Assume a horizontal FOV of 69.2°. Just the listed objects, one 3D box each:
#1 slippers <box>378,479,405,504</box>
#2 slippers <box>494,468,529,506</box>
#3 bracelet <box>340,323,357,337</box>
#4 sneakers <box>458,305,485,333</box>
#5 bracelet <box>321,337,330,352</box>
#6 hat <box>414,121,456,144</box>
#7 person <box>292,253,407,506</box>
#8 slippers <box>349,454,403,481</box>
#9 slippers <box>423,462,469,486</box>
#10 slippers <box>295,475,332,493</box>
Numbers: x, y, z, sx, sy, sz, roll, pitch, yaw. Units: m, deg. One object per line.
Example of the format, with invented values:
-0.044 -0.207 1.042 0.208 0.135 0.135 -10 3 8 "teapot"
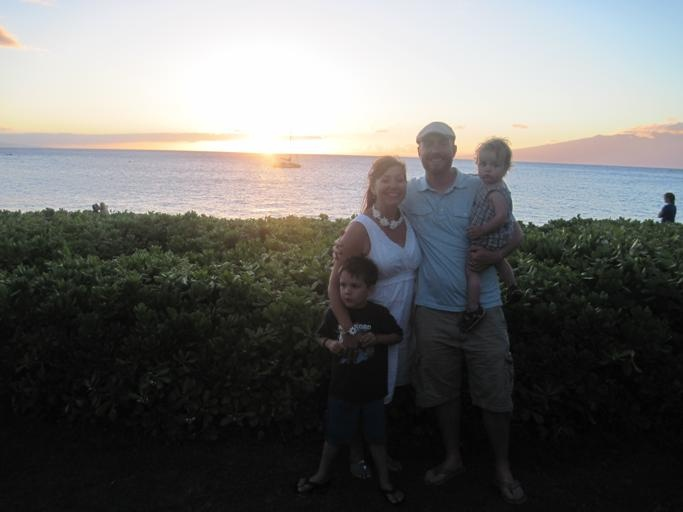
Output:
0.508 2.376 4.923 0.131 0.059 0.258 -15 24 -28 "slippers"
1.699 2.331 4.954 0.201 0.104 0.311 -11 28 -13 "slippers"
0.061 0.723 4.802 0.177 0.111 0.071 3 19 8 "bracelet"
1.309 0.659 5.088 0.155 0.360 0.135 43 40 0 "sneakers"
-0.159 0.884 4.936 0.084 0.121 0.043 -5 -15 11 "bracelet"
0.966 -1.246 4.997 0.333 0.210 0.199 -9 20 -23 "hat"
0.185 1.201 4.908 0.918 2.295 0.682 2 18 7 "person"
0.347 2.181 5.186 0.395 0.136 0.249 -1 6 -10 "slippers"
1.041 2.261 5.134 0.308 0.095 0.191 -18 7 -18 "slippers"
-0.293 2.302 4.997 0.265 0.064 0.133 1 16 -11 "slippers"
